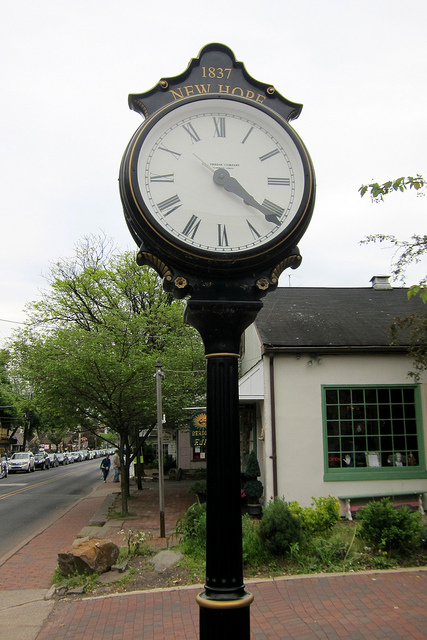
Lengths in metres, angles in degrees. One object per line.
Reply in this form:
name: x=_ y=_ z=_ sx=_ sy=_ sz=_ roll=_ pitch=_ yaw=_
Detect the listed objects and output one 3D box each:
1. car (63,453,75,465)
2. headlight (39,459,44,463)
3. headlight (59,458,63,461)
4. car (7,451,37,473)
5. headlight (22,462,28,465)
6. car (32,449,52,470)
car: x=-13.936 y=13.472 z=50.750 sx=1.182 sy=0.949 sz=1.804 roll=5 pitch=-37 yaw=-15
headlight: x=-12.882 y=10.649 z=39.334 sx=0.225 sy=0.124 sz=0.210 roll=-4 pitch=8 yaw=-24
headlight: x=-13.775 y=12.765 z=47.680 sx=0.113 sy=0.212 sz=0.473 roll=-4 pitch=-11 yaw=12
car: x=-13.172 y=9.874 z=36.045 sx=1.469 sy=1.265 sz=3.008 roll=1 pitch=-11 yaw=-15
headlight: x=-12.585 y=9.630 z=35.045 sx=0.246 sy=0.126 sz=0.223 roll=-8 pitch=0 yaw=-35
car: x=-13.507 y=10.788 z=40.549 sx=1.554 sy=1.287 sz=2.608 roll=-1 pitch=-28 yaw=-5
